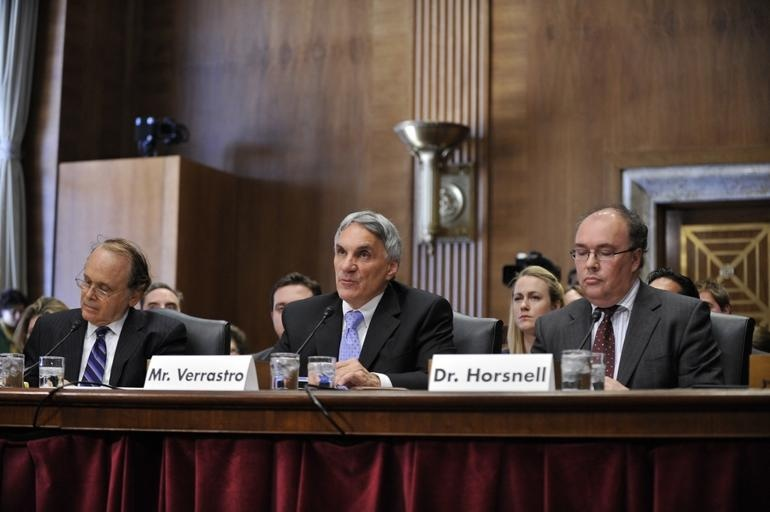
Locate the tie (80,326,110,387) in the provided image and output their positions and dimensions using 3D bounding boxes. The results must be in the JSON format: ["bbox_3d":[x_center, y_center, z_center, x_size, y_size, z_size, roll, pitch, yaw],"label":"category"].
[{"bbox_3d":[-1.495,0.502,4.813,0.124,0.286,0.197,1,-1,-11],"label":"tie"}]

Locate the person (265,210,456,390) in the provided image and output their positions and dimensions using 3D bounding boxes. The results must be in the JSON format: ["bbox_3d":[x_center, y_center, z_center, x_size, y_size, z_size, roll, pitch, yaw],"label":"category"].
[{"bbox_3d":[-0.078,0.231,5.319,0.708,1.121,0.629,-11,-32,25],"label":"person"}]

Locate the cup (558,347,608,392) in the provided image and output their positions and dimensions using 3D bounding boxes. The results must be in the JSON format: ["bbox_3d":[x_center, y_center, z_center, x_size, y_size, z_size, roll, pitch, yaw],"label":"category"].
[{"bbox_3d":[0.803,0.474,3.874,0.176,0.184,0.154,5,-6,-31],"label":"cup"}]

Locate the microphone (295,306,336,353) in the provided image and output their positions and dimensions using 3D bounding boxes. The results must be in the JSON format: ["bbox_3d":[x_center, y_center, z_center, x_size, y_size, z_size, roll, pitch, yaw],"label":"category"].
[{"bbox_3d":[-0.342,0.375,4.685,0.039,0.269,0.043,43,12,13],"label":"microphone"}]

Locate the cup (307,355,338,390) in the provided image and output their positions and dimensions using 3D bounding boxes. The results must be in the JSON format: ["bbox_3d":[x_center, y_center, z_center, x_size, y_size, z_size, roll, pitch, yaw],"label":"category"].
[{"bbox_3d":[-0.268,0.489,3.986,0.119,0.141,0.117,0,-7,0],"label":"cup"}]

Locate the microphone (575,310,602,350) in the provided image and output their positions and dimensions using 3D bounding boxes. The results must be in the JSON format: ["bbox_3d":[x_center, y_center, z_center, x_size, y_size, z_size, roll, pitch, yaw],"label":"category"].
[{"bbox_3d":[0.997,0.366,4.557,0.037,0.215,0.025,12,26,-25],"label":"microphone"}]

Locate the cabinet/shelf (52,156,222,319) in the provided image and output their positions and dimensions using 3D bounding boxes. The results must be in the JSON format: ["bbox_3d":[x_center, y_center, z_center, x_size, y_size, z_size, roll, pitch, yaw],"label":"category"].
[{"bbox_3d":[-2.046,-0.336,7.958,1.568,1.727,1.104,1,-1,-27],"label":"cabinet/shelf"}]

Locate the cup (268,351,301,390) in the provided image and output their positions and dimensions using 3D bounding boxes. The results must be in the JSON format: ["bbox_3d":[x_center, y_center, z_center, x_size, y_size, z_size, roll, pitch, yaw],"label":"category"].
[{"bbox_3d":[-0.427,0.494,3.999,0.132,0.161,0.137,1,-4,0],"label":"cup"}]

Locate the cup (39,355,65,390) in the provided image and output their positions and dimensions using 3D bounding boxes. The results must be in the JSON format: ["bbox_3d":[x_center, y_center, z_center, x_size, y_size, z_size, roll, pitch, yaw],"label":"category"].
[{"bbox_3d":[-1.540,0.540,4.318,0.153,0.183,0.155,1,-10,0],"label":"cup"}]
